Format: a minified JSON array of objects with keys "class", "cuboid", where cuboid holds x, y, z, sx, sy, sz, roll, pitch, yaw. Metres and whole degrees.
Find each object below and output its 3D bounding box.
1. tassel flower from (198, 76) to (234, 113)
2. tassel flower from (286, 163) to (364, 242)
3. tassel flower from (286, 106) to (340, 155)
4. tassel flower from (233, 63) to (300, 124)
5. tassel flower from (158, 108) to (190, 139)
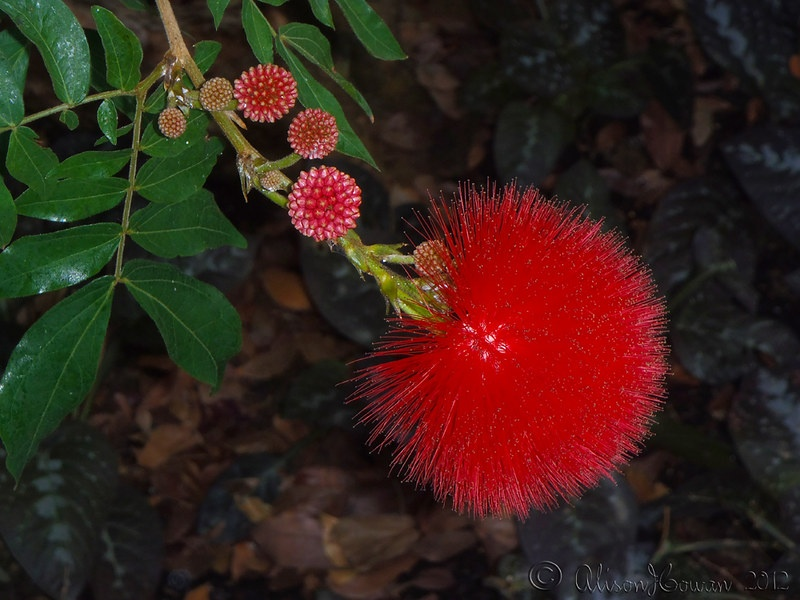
[{"class":"tassel flower","cuboid":[-0.303,-0.336,1.246,0.059,0.026,0.056,-23,83,3]},{"class":"tassel flower","cuboid":[-0.121,-0.159,1.232,0.117,0.038,0.115,31,88,7]},{"class":"tassel flower","cuboid":[-0.146,-0.281,1.273,0.076,0.047,0.084,4,91,-9]},{"class":"tassel flower","cuboid":[-0.229,-0.347,1.284,0.090,0.087,0.053,-13,68,-7]},{"class":"tassel flower","cuboid":[-0.386,-0.306,1.290,0.043,0.043,0.053,1,94,-9]}]
